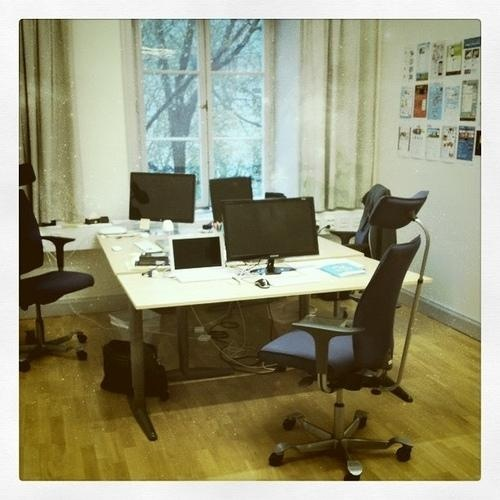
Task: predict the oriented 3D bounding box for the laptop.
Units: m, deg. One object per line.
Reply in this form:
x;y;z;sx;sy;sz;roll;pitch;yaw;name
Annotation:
-0.314;0.041;2.768;0.383;0.236;0.273;-3;9;-19;laptop

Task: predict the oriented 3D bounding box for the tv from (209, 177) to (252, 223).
-0.135;-0.377;3.368;0.460;0.434;0.062;-4;6;-20;tv

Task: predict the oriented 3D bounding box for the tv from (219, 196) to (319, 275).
0.115;-0.081;2.800;0.473;0.394;0.121;-6;10;-11;tv

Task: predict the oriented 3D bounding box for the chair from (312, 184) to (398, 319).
0.817;0.006;3.682;0.525;0.853;0.501;-3;17;-18;chair

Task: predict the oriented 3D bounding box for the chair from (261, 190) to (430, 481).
0.437;0.374;2.145;0.678;1.207;0.660;5;8;42;chair

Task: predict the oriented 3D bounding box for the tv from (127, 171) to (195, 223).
-0.682;-0.423;3.645;0.653;0.387;0.146;5;15;28;tv

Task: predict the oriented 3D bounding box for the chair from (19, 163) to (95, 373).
-1.458;0.058;3.369;0.532;1.370;0.975;-8;14;-24;chair
